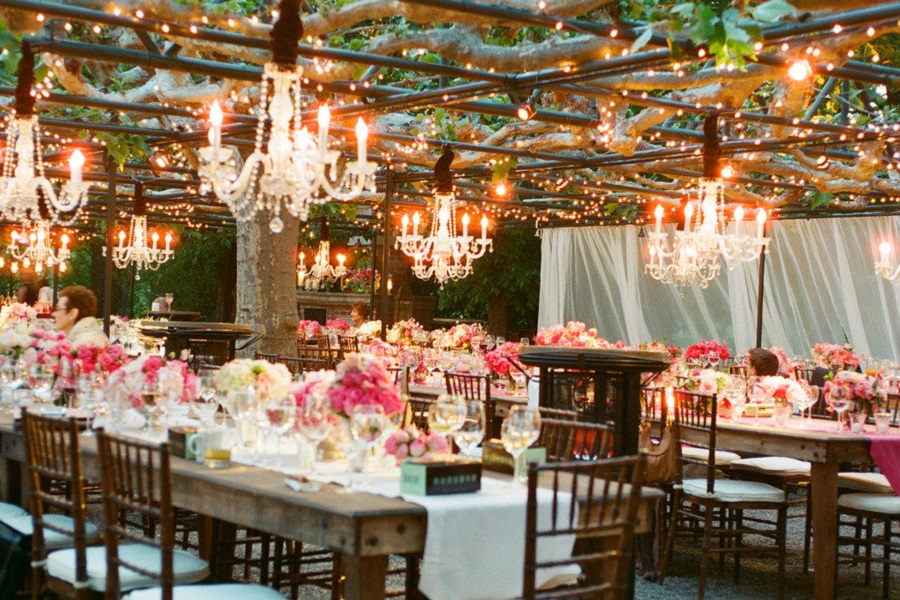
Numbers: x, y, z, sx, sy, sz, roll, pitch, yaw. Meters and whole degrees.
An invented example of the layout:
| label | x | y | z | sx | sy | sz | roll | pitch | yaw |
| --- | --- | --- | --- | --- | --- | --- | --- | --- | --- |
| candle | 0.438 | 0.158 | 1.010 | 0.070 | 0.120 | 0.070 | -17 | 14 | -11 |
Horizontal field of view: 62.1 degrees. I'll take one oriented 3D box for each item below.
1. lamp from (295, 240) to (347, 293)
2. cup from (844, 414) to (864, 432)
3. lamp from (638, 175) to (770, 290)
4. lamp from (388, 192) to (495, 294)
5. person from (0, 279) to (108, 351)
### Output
| label | x | y | z | sx | sy | sz | roll | pitch | yaw |
| --- | --- | --- | --- | --- | --- | --- | --- | --- | --- |
| lamp | -3.274 | -0.778 | 19.039 | 1.404 | 1.157 | 1.380 | 0 | 2 | -33 |
| cup | 3.238 | 0.978 | 6.069 | 0.146 | 0.147 | 0.147 | 0 | 3 | 0 |
| lamp | 4.328 | -1.140 | 12.535 | 2.326 | 1.846 | 2.326 | 1 | -8 | 0 |
| lamp | -0.212 | -0.594 | 9.630 | 0.914 | 0.901 | 0.842 | -13 | 5 | -5 |
| person | -3.327 | 0.176 | 6.210 | 0.849 | 0.284 | 0.852 | 3 | 5 | 35 |
